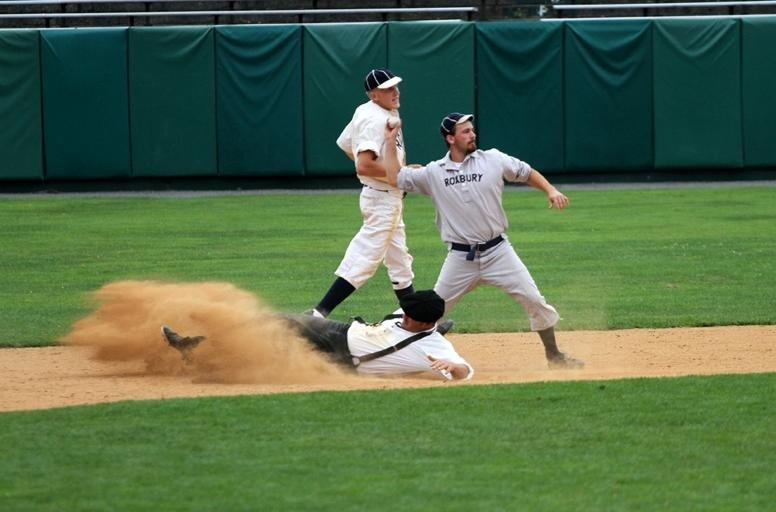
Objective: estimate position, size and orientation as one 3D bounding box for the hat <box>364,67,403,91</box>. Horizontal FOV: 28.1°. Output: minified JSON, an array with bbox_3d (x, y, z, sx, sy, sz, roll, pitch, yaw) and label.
[{"bbox_3d":[-0.085,-3.121,27.906,0.644,0.362,0.451,-10,19,5],"label":"hat"}]

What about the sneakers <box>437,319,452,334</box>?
[{"bbox_3d":[0.980,1.274,27.644,0.112,0.337,0.205,35,-26,15],"label":"sneakers"}]
